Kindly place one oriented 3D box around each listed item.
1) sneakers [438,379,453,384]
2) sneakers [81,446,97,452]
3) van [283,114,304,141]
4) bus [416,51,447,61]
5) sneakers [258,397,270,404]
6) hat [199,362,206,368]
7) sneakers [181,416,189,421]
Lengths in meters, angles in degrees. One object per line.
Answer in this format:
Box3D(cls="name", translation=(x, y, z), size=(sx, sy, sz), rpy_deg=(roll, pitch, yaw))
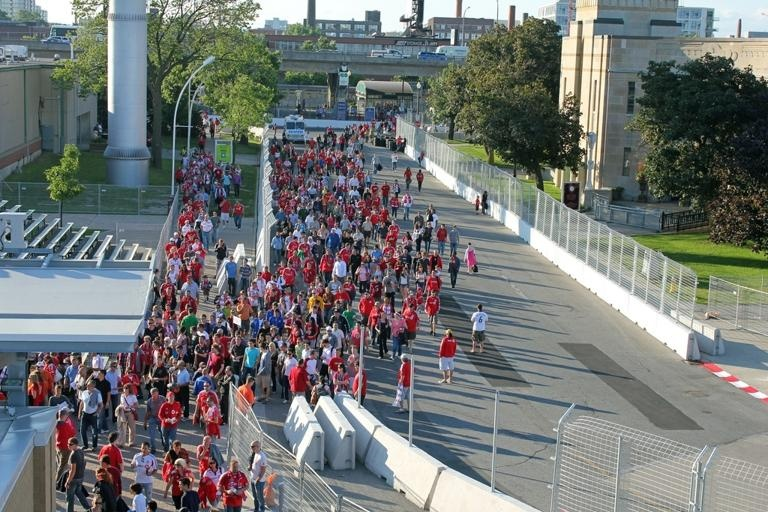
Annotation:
Box3D(cls="sneakers", translation=(2.346, 4.825, 44.606), size=(0.499, 0.227, 0.177), rpy_deg=(8, 9, 32))
Box3D(cls="sneakers", translation=(-9.951, 6.517, 39.229), size=(0.489, 0.230, 0.173), rpy_deg=(6, 1, -3))
Box3D(cls="van", translation=(-7.080, -9.991, 91.930), size=(1.171, 1.546, 2.413), rpy_deg=(-1, 9, -6))
Box3D(cls="bus", translation=(5.949, -24.541, 144.784), size=(3.842, 1.231, 1.535), rpy_deg=(-12, 29, -22))
Box3D(cls="sneakers", translation=(-4.462, 5.287, 42.647), size=(0.294, 0.120, 0.183), rpy_deg=(8, 8, 10))
Box3D(cls="hat", translation=(-6.243, 3.756, 40.097), size=(0.187, 0.153, 0.195), rpy_deg=(1, 2, -16))
Box3D(cls="sneakers", translation=(-7.077, 5.774, 41.223), size=(0.275, 0.129, 0.112), rpy_deg=(4, 6, -13))
